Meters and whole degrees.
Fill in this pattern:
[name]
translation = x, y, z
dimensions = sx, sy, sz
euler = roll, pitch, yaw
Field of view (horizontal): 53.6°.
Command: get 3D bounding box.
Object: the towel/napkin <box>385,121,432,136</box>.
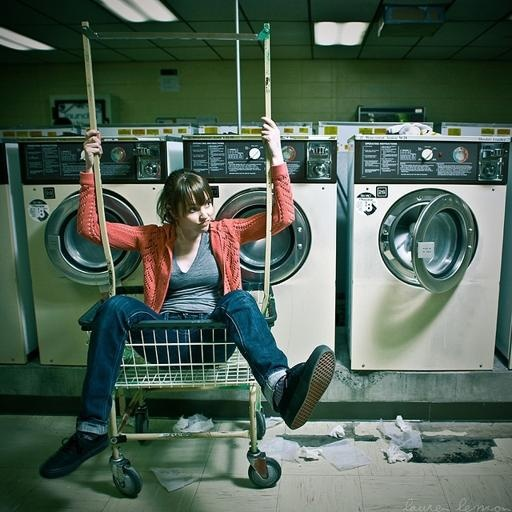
[towel/napkin]
translation = 0.846, -0.696, 2.780
dimensions = 0.244, 0.070, 0.658
euler = 3, 14, 16

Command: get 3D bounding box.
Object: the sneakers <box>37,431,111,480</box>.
[sneakers]
translation = -0.685, 0.727, 1.893
dimensions = 0.262, 0.215, 0.091
euler = 1, 15, 10

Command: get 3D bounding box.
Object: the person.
[person]
translation = -0.231, 0.142, 1.966
dimensions = 1.093, 1.295, 0.688
euler = 1, 15, 10
